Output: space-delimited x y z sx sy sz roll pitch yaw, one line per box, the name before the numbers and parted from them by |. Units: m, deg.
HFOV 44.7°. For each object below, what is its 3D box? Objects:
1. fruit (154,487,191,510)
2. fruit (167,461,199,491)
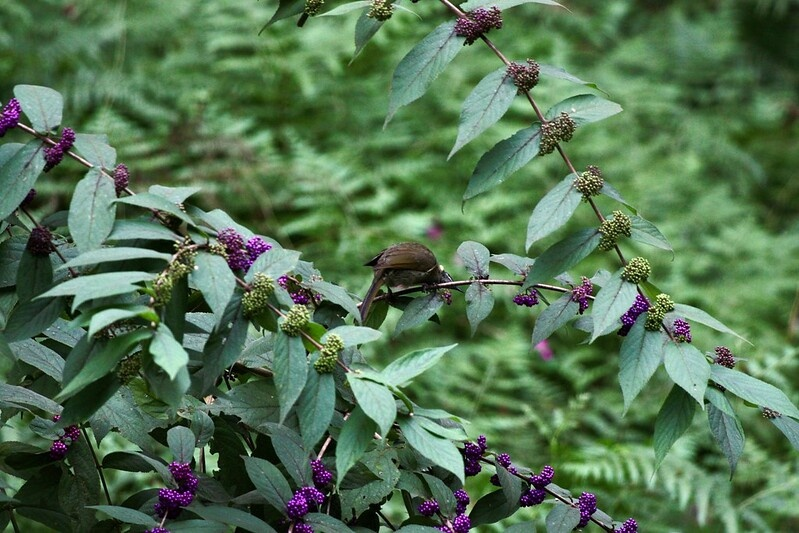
fruit | -0.694 0.707 2.969 0.077 0.044 0.067 2 72 -7
fruit | -0.670 0.663 3.047 0.099 0.075 0.089 8 36 -33
